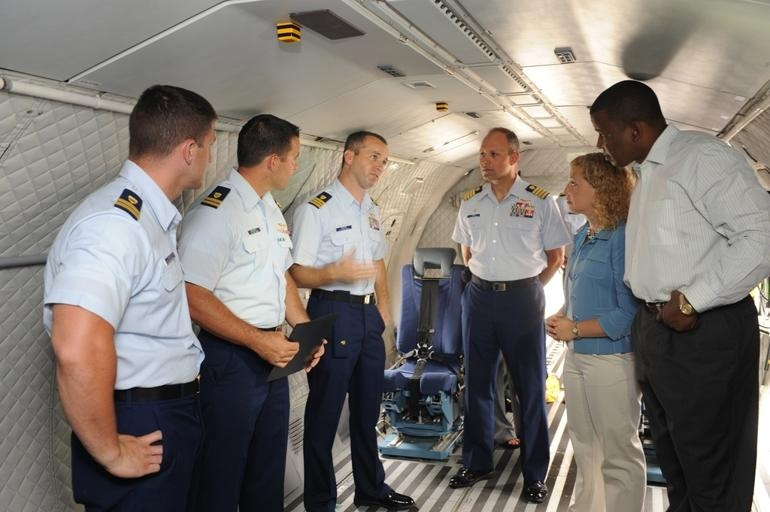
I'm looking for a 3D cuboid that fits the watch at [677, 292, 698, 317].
[{"bbox_3d":[1.542,0.256,2.503,0.056,0.095,0.098,-39,-23,15],"label":"watch"}]

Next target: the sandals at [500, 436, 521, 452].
[{"bbox_3d":[1.326,1.996,5.144,0.248,0.096,0.131,-7,10,20],"label":"sandals"}]

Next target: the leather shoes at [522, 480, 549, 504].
[{"bbox_3d":[1.323,2.060,4.292,0.210,0.132,0.282,0,2,17],"label":"leather shoes"}]

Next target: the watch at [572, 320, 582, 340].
[{"bbox_3d":[1.311,0.515,3.327,0.055,0.116,0.042,0,2,34],"label":"watch"}]

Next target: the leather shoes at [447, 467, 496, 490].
[{"bbox_3d":[0.808,2.045,4.494,0.424,0.173,0.147,1,-11,-22],"label":"leather shoes"}]
